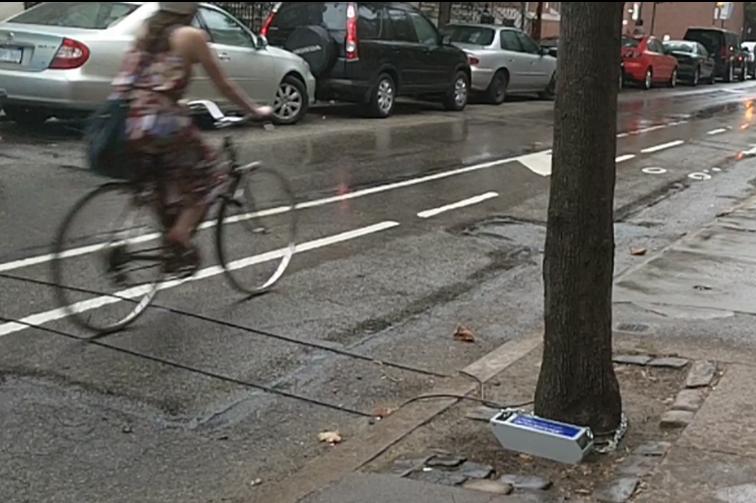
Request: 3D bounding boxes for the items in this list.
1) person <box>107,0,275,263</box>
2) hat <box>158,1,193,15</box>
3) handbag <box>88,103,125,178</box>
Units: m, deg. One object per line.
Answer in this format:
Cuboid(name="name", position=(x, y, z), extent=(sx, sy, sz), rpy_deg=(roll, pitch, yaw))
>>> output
Cuboid(name="person", position=(-1.470, -0.851, 5.424), extent=(0.967, 2.013, 0.352), rpy_deg=(-9, 18, -18))
Cuboid(name="hat", position=(-1.464, -1.781, 5.194), extent=(0.260, 0.100, 0.080), rpy_deg=(-6, 17, -13))
Cuboid(name="handbag", position=(-1.967, -0.817, 5.185), extent=(0.314, 0.560, 0.154), rpy_deg=(3, 18, 19))
